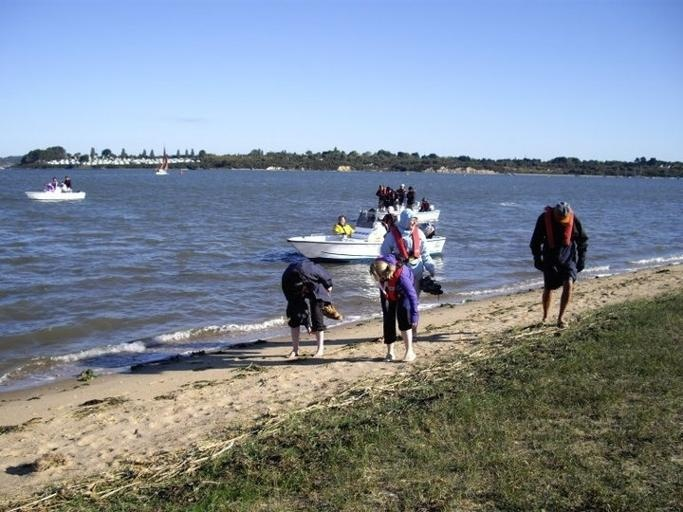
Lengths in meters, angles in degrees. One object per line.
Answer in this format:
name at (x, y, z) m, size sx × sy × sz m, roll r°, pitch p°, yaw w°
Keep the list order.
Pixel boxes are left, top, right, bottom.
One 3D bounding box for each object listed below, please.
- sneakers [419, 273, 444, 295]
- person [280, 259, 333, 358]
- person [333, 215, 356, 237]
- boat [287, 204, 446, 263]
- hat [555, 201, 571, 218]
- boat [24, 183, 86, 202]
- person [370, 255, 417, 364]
sneakers at (1.528, 0.553, 9.512) m, size 0.391 × 0.265 × 0.144 m, roll 23°, pitch -51°, yaw -34°
person at (-0.622, 0.966, 10.234) m, size 0.903 × 1.876 × 0.891 m, roll -13°, pitch 10°, yaw -15°
person at (0.027, -1.195, 23.994) m, size 0.896 × 1.055 × 0.464 m, roll -9°, pitch -33°, yaw -7°
boat at (-0.518, -0.755, 24.434) m, size 8.823 × 3.040 × 2.519 m, roll -1°, pitch 3°, yaw -12°
hat at (3.555, -0.759, 9.259) m, size 0.242 × 0.286 × 0.297 m, roll 6°, pitch 27°, yaw 11°
boat at (-24.022, -5.140, 50.202) m, size 1.910 × 1.633 × 5.943 m, roll 10°, pitch 6°, yaw 40°
person at (0.888, 0.864, 8.928) m, size 0.615 × 1.807 × 0.629 m, roll -10°, pitch 10°, yaw 3°
